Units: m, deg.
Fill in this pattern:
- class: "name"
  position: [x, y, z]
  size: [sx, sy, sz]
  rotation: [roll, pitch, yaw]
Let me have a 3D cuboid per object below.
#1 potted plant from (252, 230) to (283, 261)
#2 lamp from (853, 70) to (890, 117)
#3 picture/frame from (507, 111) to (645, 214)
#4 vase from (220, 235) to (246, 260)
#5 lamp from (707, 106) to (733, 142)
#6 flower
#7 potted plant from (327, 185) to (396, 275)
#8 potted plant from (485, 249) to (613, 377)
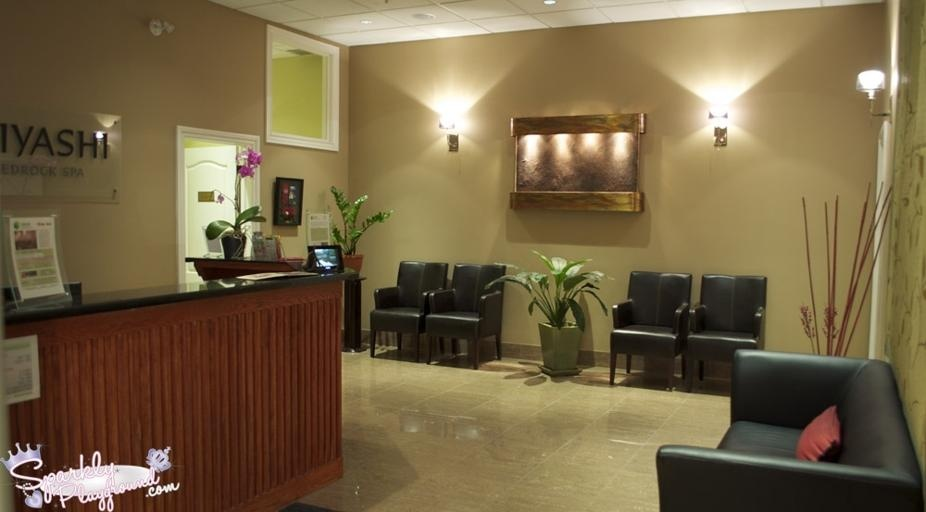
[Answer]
- class: "potted plant"
  position: [-1.902, -0.096, 5.807]
  size: [0.356, 0.305, 0.241]
  rotation: [0, 0, 4]
- class: "lamp"
  position: [4.373, -1.706, 6.378]
  size: [0.340, 0.440, 0.273]
  rotation: [4, 8, 34]
- class: "picture/frame"
  position: [1.580, -1.273, 8.072]
  size: [1.591, 1.012, 0.201]
  rotation: [1, 1, 20]
- class: "vase"
  position: [-2.280, -0.081, 6.000]
  size: [0.264, 0.240, 0.268]
  rotation: [1, 0, 6]
- class: "lamp"
  position: [3.206, -1.636, 7.561]
  size: [0.276, 0.498, 0.179]
  rotation: [4, 10, 17]
- class: "flower"
  position: [-2.691, -0.754, 7.035]
  size: [0.627, 1.062, 2.333]
  rotation: [-3, 9, -19]
- class: "potted plant"
  position: [-1.581, -0.416, 8.894]
  size: [0.798, 1.216, 1.011]
  rotation: [-1, 10, -12]
- class: "potted plant"
  position: [1.221, 0.751, 7.944]
  size: [1.148, 1.519, 1.077]
  rotation: [6, 11, 28]
